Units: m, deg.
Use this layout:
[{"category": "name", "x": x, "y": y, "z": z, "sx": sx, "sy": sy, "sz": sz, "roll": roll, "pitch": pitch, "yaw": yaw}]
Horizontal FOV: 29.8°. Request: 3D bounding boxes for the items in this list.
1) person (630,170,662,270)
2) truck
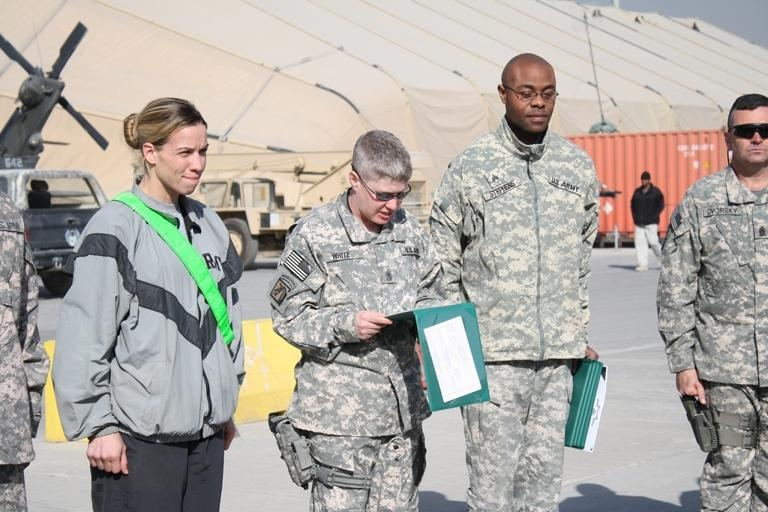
[{"category": "person", "x": 7.880, "y": -1.127, "z": 43.458, "sx": 0.924, "sy": 3.067, "sz": 1.547, "roll": 0, "pitch": -9, "yaw": 9}, {"category": "truck", "x": 9.754, "y": -3.213, "z": 50.871, "sx": 7.163, "sy": 4.315, "sz": 3.839, "roll": 1, "pitch": 4, "yaw": 22}]
